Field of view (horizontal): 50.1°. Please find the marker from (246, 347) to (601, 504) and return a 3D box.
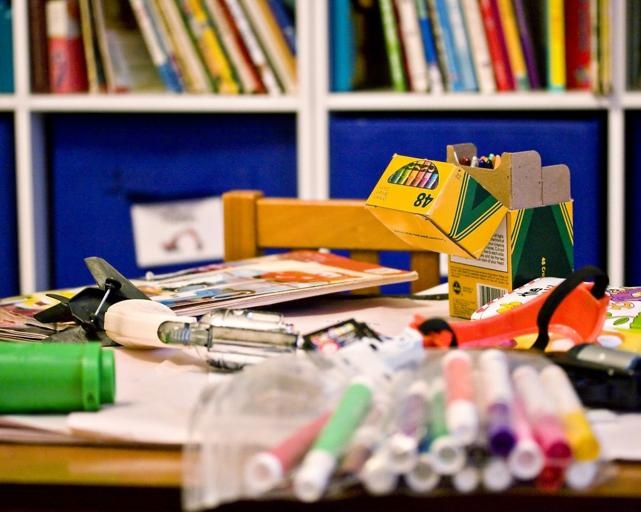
[{"bbox_3d":[0.060,0.110,0.430,0.217,0.061,0.065,-4,2,-9],"label":"marker"}]
